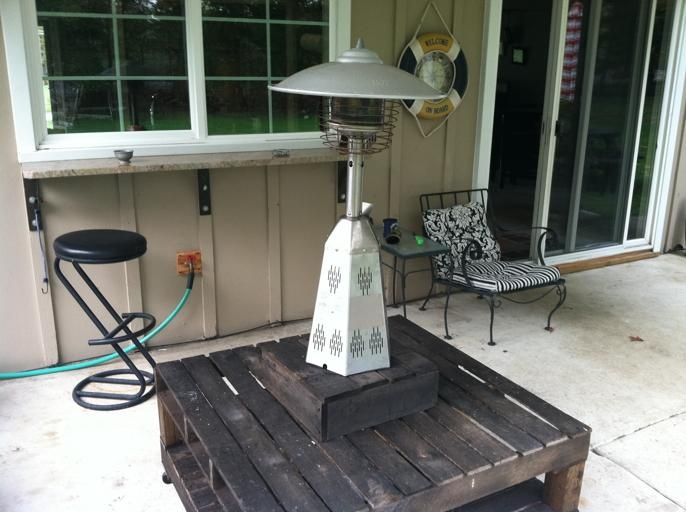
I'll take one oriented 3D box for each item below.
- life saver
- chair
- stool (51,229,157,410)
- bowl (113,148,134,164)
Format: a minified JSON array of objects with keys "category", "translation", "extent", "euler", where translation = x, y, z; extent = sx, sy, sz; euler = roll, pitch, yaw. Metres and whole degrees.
[{"category":"life saver","translation":[0.736,-1.449,4.531],"extent":[0.628,0.684,0.154],"euler":[-16,22,-31]},{"category":"chair","translation":[1.172,0.053,4.518],"extent":[0.814,1.013,0.994],"euler":[-9,15,-26]},{"category":"stool","translation":[-1.473,0.352,3.526],"extent":[0.604,1.050,0.661],"euler":[-11,20,-19]},{"category":"bowl","translation":[-1.337,-0.611,3.436],"extent":[0.099,0.062,0.096],"euler":[4,29,-2]}]
